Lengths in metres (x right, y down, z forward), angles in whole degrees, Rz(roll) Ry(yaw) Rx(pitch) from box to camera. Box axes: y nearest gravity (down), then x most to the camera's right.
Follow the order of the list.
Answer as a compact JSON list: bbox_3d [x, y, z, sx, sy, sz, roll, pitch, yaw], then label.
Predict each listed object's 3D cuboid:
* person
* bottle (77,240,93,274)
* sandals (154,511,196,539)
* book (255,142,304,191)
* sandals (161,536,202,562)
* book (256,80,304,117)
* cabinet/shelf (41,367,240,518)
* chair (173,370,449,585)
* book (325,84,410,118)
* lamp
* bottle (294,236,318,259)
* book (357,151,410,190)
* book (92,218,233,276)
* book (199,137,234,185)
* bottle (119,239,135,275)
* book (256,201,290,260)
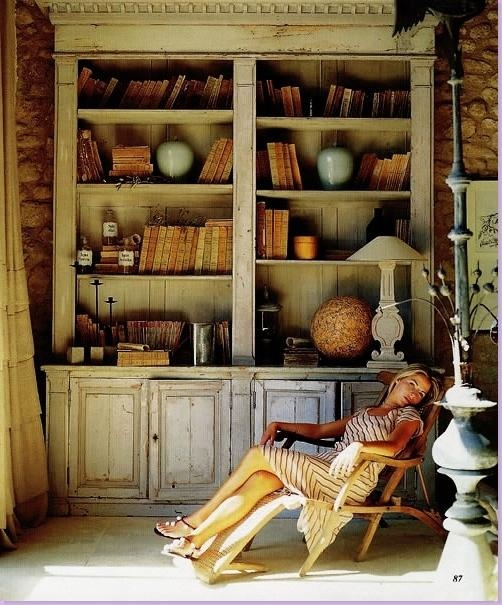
[{"bbox_3d":[0.241,0.775,3.686,1.347,1.038,0.706,3,-1,-18],"label":"person"},{"bbox_3d":[-1.012,-0.288,4.616,0.084,0.202,0.168,-1,4,-9],"label":"bottle"},{"bbox_3d":[-0.354,1.047,3.586,0.226,0.072,0.095,3,3,-1],"label":"sandals"},{"bbox_3d":[0.158,-0.799,4.744,0.245,0.374,0.340,-6,8,-24],"label":"book"},{"bbox_3d":[-0.313,1.140,3.565,0.223,0.109,0.081,14,-2,-3],"label":"sandals"},{"bbox_3d":[0.178,-1.234,4.642,0.201,0.302,0.296,-1,8,9],"label":"book"},{"bbox_3d":[-0.622,0.825,4.332,0.722,0.699,0.302,0,-3,0],"label":"cabinet/shelf"},{"bbox_3d":[0.297,0.791,3.738,1.389,0.957,0.665,2,-3,-26],"label":"chair"},{"bbox_3d":[0.708,-1.235,4.721,0.514,0.227,0.339,0,5,4],"label":"book"},{"bbox_3d":[0.775,-0.012,4.430,0.429,0.743,0.502,1,4,13],"label":"lamp"},{"bbox_3d":[0.329,-0.329,4.611,0.145,0.141,0.139,0,4,4],"label":"bottle"},{"bbox_3d":[0.804,-0.795,4.645,0.331,0.219,0.050,2,4,24],"label":"book"},{"bbox_3d":[-0.524,-0.336,4.644,0.830,0.325,0.282,0,4,-2],"label":"book"},{"bbox_3d":[-0.196,-0.845,4.611,0.054,0.263,0.239,14,12,0],"label":"book"},{"bbox_3d":[-0.757,-0.281,4.623,0.101,0.202,0.139,-1,4,-11],"label":"bottle"},{"bbox_3d":[0.129,-0.437,4.757,0.256,0.404,0.321,0,0,0],"label":"book"}]
